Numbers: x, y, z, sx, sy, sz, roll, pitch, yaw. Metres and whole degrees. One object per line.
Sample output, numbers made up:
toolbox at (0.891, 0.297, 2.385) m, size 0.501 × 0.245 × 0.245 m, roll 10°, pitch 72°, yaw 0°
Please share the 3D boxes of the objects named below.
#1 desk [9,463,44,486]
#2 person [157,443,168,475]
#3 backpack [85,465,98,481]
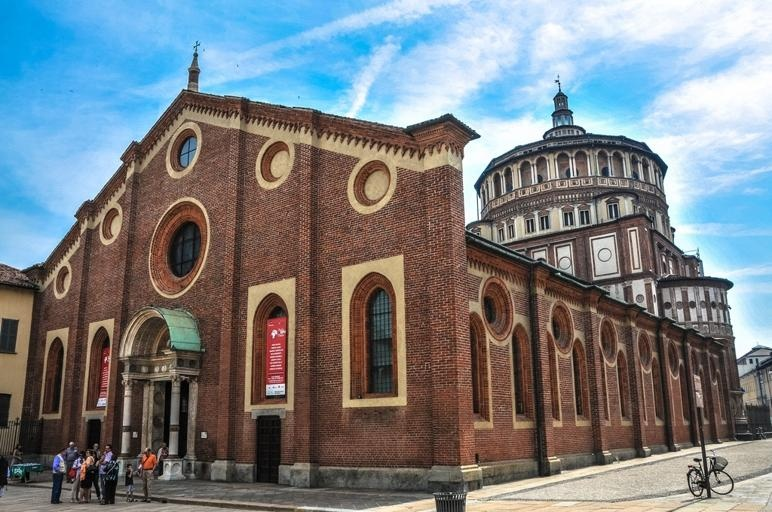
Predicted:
desk at (-19.991, 12.165, 34.803) m, size 1.286 × 0.845 × 1.292 m, roll -20°, pitch -28°, yaw 40°
person at (-12.093, 11.035, 33.869) m, size 0.493 × 1.682 × 0.947 m, roll 7°, pitch -23°, yaw -20°
backpack at (-13.345, 9.909, 28.603) m, size 0.295 × 0.757 × 0.590 m, roll -7°, pitch -22°, yaw 13°
